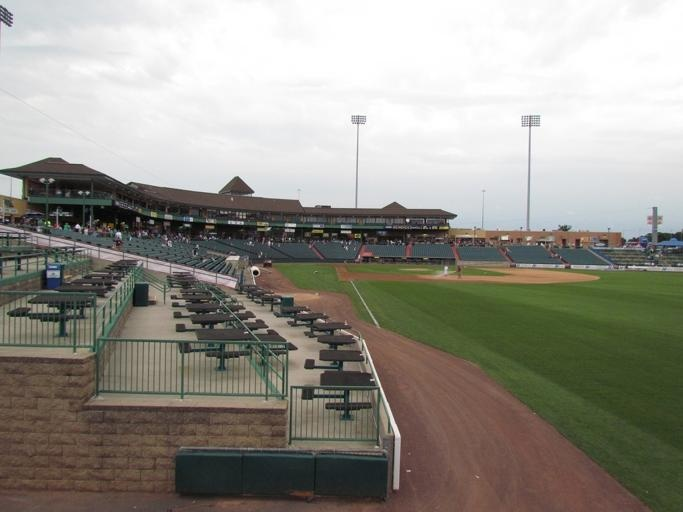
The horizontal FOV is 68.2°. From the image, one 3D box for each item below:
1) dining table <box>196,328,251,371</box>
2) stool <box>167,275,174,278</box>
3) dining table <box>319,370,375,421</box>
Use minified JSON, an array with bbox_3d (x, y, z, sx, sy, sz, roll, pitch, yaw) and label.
[{"bbox_3d":[-3.191,2.404,13.391,1.481,0.716,1.318,1,4,-7],"label":"dining table"},{"bbox_3d":[-10.715,1.325,31.611,0.315,0.249,0.160,3,5,30],"label":"stool"},{"bbox_3d":[0.136,3.480,12.713,1.340,1.048,1.239,2,14,10],"label":"dining table"}]
